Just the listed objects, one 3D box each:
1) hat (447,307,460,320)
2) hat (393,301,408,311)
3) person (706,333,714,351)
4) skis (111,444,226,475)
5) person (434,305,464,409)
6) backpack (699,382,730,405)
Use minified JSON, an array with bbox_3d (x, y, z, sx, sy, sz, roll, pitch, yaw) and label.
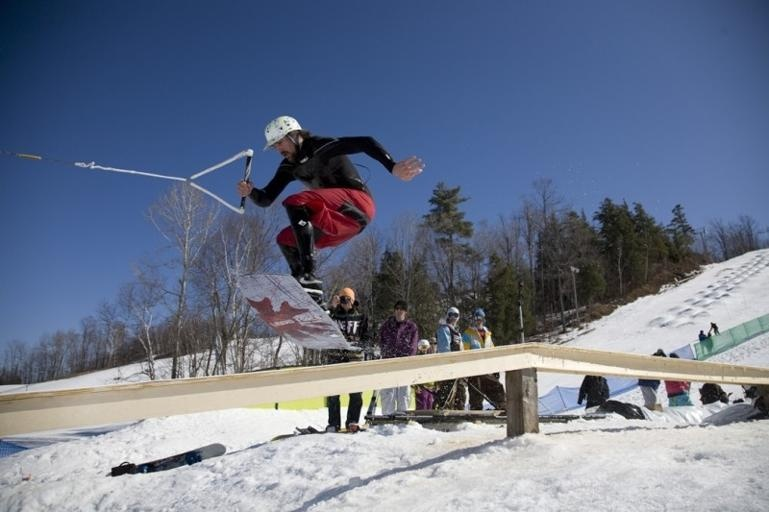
[{"bbox_3d":[1.391,1.152,10.199,0.257,0.355,0.359,1,-36,6],"label":"hat"},{"bbox_3d":[0.297,0.934,9.221,0.183,0.232,0.235,-9,10,2],"label":"hat"},{"bbox_3d":[14.971,3.962,23.158,0.808,0.517,0.187,32,-19,-35],"label":"person"},{"bbox_3d":[-3.837,3.668,8.909,1.863,0.284,0.186,-8,11,-17],"label":"skis"},{"bbox_3d":[1.272,2.063,10.254,0.701,2.096,1.524,-5,-12,7],"label":"person"},{"bbox_3d":[7.995,3.336,12.253,0.515,0.481,1.028,-11,-15,29],"label":"backpack"}]
